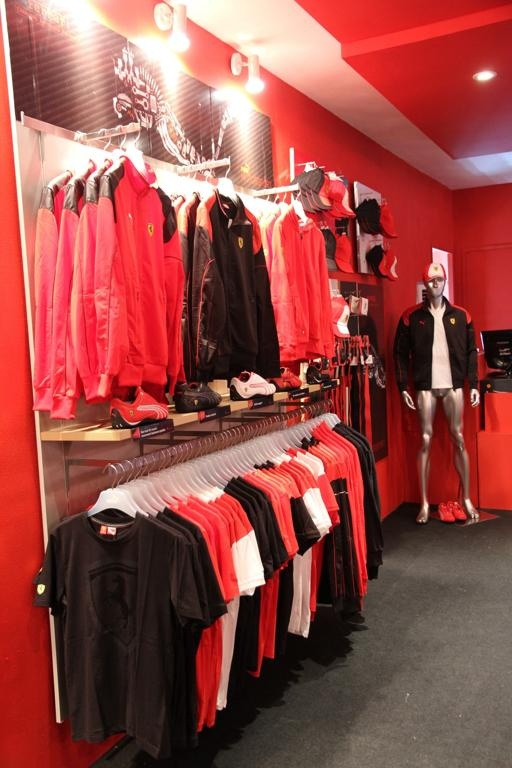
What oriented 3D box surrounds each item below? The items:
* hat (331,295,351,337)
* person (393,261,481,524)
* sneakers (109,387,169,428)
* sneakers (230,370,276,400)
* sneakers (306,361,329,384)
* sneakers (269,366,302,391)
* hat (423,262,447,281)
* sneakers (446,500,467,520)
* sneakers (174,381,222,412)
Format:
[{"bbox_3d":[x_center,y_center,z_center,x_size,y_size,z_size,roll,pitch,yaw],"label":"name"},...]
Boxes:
[{"bbox_3d":[0.565,-0.464,3.430,0.104,0.306,0.298,-3,-3,9],"label":"hat"},{"bbox_3d":[1.566,0.086,4.433,0.695,2.195,0.325,-4,-3,26],"label":"person"},{"bbox_3d":[-0.321,0.064,1.408,0.067,0.108,0.208,3,4,31],"label":"sneakers"},{"bbox_3d":[-0.013,0.015,2.045,0.073,0.101,0.207,1,3,33],"label":"sneakers"},{"bbox_3d":[0.352,-0.054,3.012,0.072,0.121,0.262,-1,-7,-5],"label":"sneakers"},{"bbox_3d":[0.154,-0.026,2.447,0.070,0.083,0.192,0,2,22],"label":"sneakers"},{"bbox_3d":[1.529,-0.949,4.374,0.167,0.149,0.148,-4,-3,19],"label":"hat"},{"bbox_3d":[1.750,1.108,4.442,0.146,0.093,0.267,-4,-3,13],"label":"sneakers"},{"bbox_3d":[-0.195,0.042,1.746,0.067,0.090,0.193,2,5,28],"label":"sneakers"}]
